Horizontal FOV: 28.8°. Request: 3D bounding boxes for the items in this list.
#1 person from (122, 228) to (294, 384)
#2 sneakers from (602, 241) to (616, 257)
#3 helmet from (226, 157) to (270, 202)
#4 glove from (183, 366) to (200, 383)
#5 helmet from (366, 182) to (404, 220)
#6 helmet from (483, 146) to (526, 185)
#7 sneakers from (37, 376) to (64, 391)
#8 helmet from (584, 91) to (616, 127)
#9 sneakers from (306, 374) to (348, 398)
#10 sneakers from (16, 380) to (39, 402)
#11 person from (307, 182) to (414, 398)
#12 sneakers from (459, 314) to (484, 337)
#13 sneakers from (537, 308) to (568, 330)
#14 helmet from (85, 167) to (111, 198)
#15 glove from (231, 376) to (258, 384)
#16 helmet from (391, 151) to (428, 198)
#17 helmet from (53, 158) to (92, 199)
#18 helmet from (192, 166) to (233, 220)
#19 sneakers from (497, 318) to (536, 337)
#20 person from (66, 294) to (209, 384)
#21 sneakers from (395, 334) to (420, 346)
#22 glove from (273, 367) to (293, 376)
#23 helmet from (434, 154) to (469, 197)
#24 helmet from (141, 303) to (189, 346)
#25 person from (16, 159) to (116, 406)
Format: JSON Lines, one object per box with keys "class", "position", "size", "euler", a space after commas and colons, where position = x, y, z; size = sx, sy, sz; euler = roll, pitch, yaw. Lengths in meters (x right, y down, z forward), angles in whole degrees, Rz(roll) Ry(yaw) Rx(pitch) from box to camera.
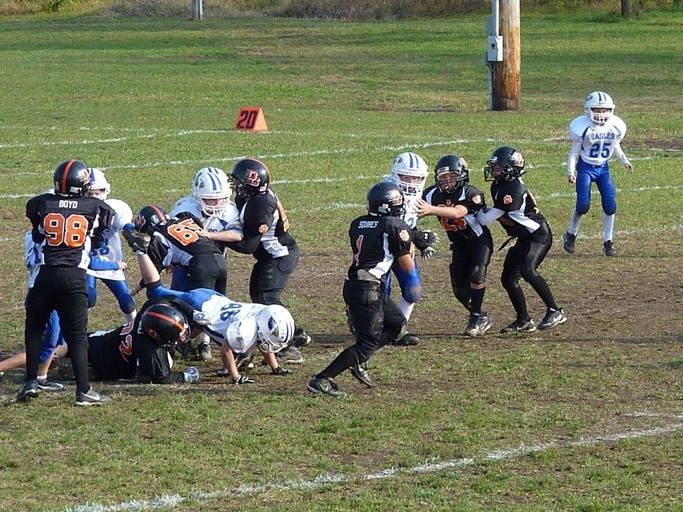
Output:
{"class": "person", "position": [-1.699, 0.662, 16.944], "size": [2.441, 1.317, 1.155], "euler": [26, 32, 17]}
{"class": "sneakers", "position": [4.220, -0.139, 20.818], "size": [0.182, 0.236, 0.168], "euler": [2, 9, 14]}
{"class": "helmet", "position": [-1.143, -1.063, 17.582], "size": [0.596, 0.476, 0.424], "euler": [8, 36, 3]}
{"class": "glove", "position": [-1.879, 1.499, 16.865], "size": [0.153, 0.113, 0.339], "euler": [-3, -6, 5]}
{"class": "helmet", "position": [0.531, -0.738, 16.632], "size": [0.505, 0.380, 0.360], "euler": [-15, 33, -33]}
{"class": "helmet", "position": [2.256, -1.254, 18.243], "size": [0.614, 0.439, 0.465], "euler": [-1, 9, -1]}
{"class": "sneakers", "position": [-3.598, 1.576, 16.527], "size": [0.356, 0.144, 0.135], "euler": [7, 17, -8]}
{"class": "helmet", "position": [4.232, -2.393, 21.478], "size": [0.504, 0.523, 0.615], "euler": [-4, 18, -16]}
{"class": "sneakers", "position": [-0.095, 1.597, 16.485], "size": [0.572, 0.242, 0.192], "euler": [14, 12, -20]}
{"class": "sneakers", "position": [-3.746, 1.618, 16.105], "size": [0.161, 0.157, 0.359], "euler": [23, -38, -28]}
{"class": "person", "position": [0.325, 0.376, 16.567], "size": [1.319, 2.575, 0.604], "euler": [-5, 10, -26]}
{"class": "sneakers", "position": [1.806, 0.921, 18.055], "size": [0.270, 0.287, 0.184], "euler": [1, 9, 5]}
{"class": "sneakers", "position": [2.887, 0.842, 18.082], "size": [0.525, 0.232, 0.180], "euler": [-14, 18, -33]}
{"class": "helmet", "position": [-3.090, -0.915, 17.038], "size": [0.326, 0.319, 0.412], "euler": [-6, 14, -30]}
{"class": "glove", "position": [-1.208, 1.554, 16.825], "size": [0.332, 0.116, 0.114], "euler": [-2, 21, -8]}
{"class": "helmet", "position": [0.936, -1.164, 17.755], "size": [0.470, 0.455, 0.578], "euler": [-1, 28, -23]}
{"class": "helmet", "position": [-3.275, -0.961, 16.126], "size": [0.374, 0.372, 0.465], "euler": [15, 31, 6]}
{"class": "helmet", "position": [-1.641, -0.937, 17.481], "size": [0.507, 0.526, 0.626], "euler": [-9, 40, -26]}
{"class": "sneakers", "position": [2.410, 0.959, 18.150], "size": [0.522, 0.202, 0.197], "euler": [-2, 14, -4]}
{"class": "person", "position": [-2.563, 1.130, 16.610], "size": [1.647, 0.663, 0.885], "euler": [-7, 53, 9]}
{"class": "sneakers", "position": [0.901, 1.089, 17.778], "size": [0.387, 0.162, 0.141], "euler": [-4, 20, 4]}
{"class": "glove", "position": [-0.719, 1.460, 17.063], "size": [0.266, 0.100, 0.094], "euler": [-1, 11, 1]}
{"class": "helmet", "position": [1.487, -1.114, 17.816], "size": [0.402, 0.411, 0.529], "euler": [-4, 9, 20]}
{"class": "helmet", "position": [-2.187, 0.826, 16.568], "size": [0.580, 0.410, 0.444], "euler": [24, 1, -9]}
{"class": "person", "position": [-3.339, 0.317, 16.081], "size": [1.103, 2.910, 0.603], "euler": [-2, 9, -7]}
